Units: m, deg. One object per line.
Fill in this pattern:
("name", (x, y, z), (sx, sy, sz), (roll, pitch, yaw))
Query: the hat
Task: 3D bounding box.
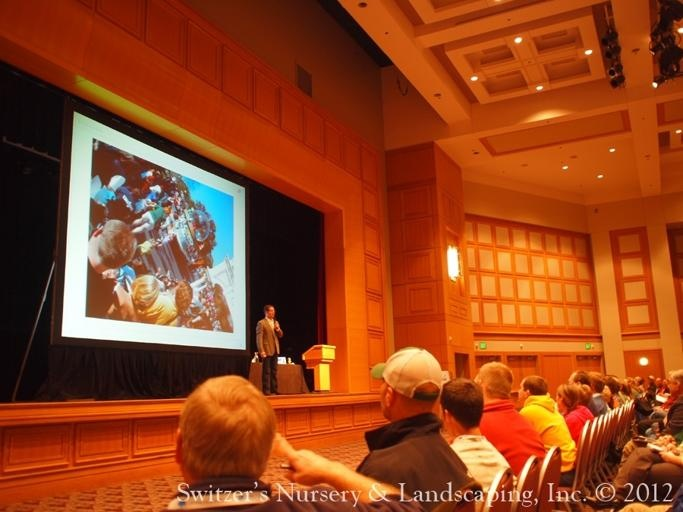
("hat", (0.297, 0.555, 2.325), (0.189, 0.167, 0.271), (5, 12, -35))
